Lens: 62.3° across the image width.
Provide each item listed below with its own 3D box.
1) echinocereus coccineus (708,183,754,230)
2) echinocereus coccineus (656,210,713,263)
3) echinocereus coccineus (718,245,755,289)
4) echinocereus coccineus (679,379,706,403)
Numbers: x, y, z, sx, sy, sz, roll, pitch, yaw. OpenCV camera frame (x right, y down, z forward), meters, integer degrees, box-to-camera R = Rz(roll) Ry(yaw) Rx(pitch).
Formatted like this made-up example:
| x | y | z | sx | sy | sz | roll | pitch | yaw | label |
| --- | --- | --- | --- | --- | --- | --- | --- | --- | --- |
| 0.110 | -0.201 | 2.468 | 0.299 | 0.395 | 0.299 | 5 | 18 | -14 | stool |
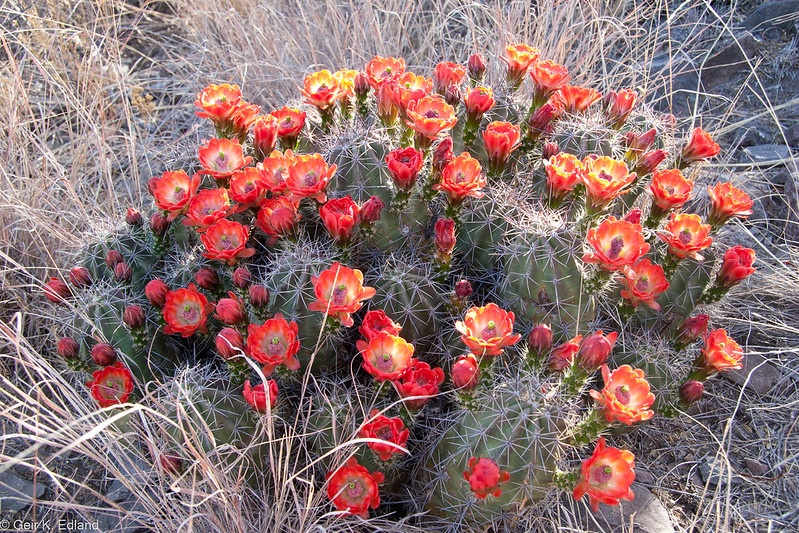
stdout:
| x | y | z | sx | sy | sz | roll | pitch | yaw | label |
| --- | --- | --- | --- | --- | --- | --- | --- | --- | --- |
| 1.914 | -0.339 | 3.835 | 0.219 | 0.217 | 0.221 | 46 | 40 | 19 | echinocereus coccineus |
| 1.512 | -0.145 | 3.585 | 0.243 | 0.183 | 0.246 | -24 | 81 | 2 | echinocereus coccineus |
| 1.889 | 0.001 | 3.729 | 0.134 | 0.209 | 0.122 | -20 | 73 | -13 | echinocereus coccineus |
| 1.531 | 0.660 | 3.498 | 0.109 | 0.176 | 0.128 | -5 | 75 | 10 | echinocereus coccineus |
